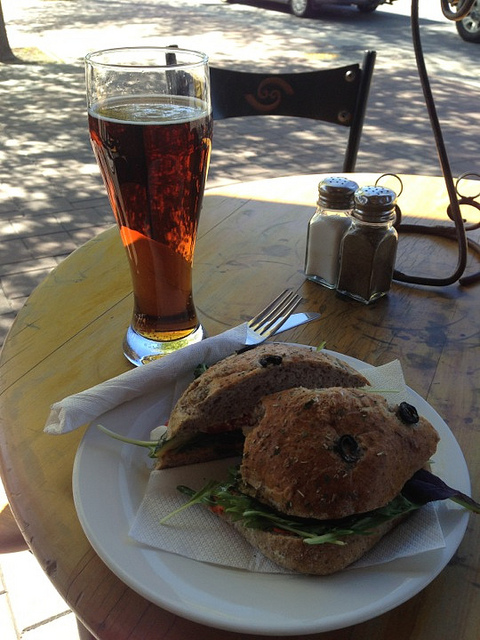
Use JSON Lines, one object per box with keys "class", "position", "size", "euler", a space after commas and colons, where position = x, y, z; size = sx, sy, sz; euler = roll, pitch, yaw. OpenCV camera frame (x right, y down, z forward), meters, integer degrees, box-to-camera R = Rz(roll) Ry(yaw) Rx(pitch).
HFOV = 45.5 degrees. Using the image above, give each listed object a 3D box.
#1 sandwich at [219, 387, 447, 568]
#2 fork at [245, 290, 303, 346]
{"class": "sandwich", "position": [0.100, 0.144, 0.693], "size": [0.214, 0.090, 0.309], "euler": [14, 28, 36]}
{"class": "fork", "position": [0.059, -0.007, 1.060], "size": [0.054, 0.020, 0.216], "euler": [15, 35, 21]}
